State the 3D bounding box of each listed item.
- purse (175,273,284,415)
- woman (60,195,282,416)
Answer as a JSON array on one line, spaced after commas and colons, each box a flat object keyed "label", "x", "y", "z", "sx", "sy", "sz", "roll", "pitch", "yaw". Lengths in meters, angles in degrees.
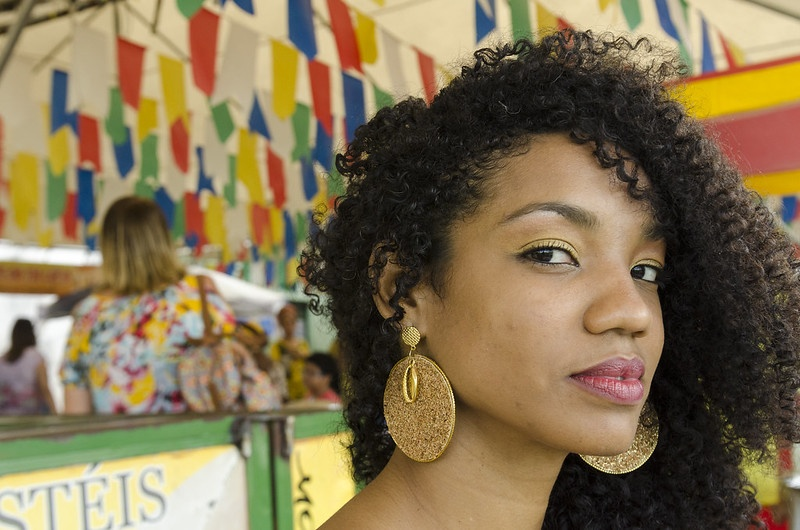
[{"label": "purse", "x": -1.188, "y": 0.506, "z": 9.406, "sx": 0.341, "sy": 0.925, "sz": 0.544, "roll": -24, "pitch": -9, "yaw": 23}, {"label": "woman", "x": -1.593, "y": 0.269, "z": 9.684, "sx": 0.980, "sy": 2.372, "sz": 0.691, "roll": -10, "pitch": 7, "yaw": 2}]
